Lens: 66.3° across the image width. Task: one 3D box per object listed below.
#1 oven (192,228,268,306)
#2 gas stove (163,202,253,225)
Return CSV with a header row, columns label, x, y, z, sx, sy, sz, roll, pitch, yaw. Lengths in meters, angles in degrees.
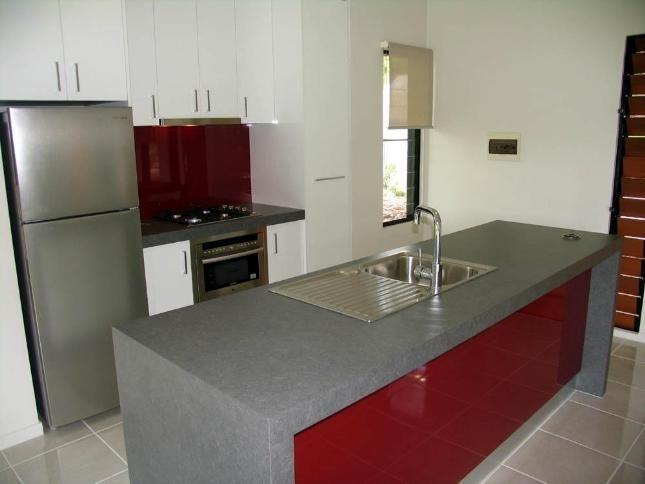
label,x,y,z,sx,sy,sz,roll,pitch,yaw
oven,-0.898,0.141,4.252,0.509,0.724,0.734,9,15,44
gas stove,-1.025,-0.244,4.253,0.663,0.058,0.673,-12,17,-43
